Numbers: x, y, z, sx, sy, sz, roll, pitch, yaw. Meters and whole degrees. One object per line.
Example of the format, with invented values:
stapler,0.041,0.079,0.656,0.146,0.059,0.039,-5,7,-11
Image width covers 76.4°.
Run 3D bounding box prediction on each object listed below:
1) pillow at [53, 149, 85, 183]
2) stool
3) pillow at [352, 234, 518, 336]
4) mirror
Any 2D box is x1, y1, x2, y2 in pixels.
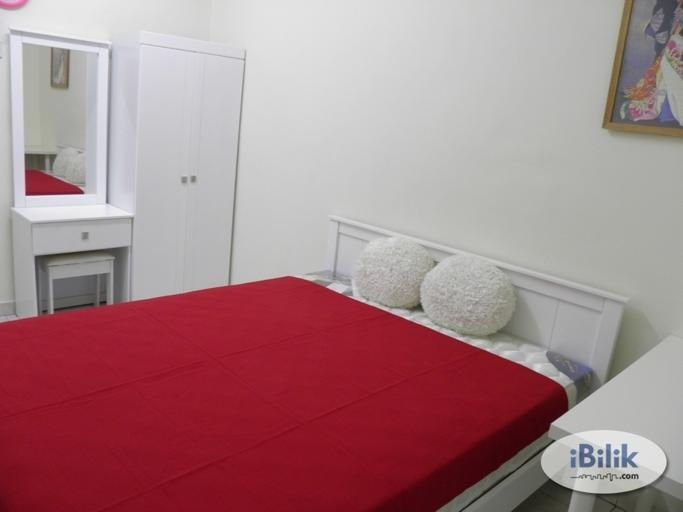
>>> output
pillow,-2.067,-0.682,3.290,0.084,0.219,0.214,15,32,29
stool,-1.933,0.194,3.165,0.337,0.345,0.247,-12,31,-40
pillow,0.509,0.112,2.426,0.809,0.418,0.325,14,31,43
mirror,-2.073,-0.972,3.215,0.131,1.208,0.735,17,21,35
